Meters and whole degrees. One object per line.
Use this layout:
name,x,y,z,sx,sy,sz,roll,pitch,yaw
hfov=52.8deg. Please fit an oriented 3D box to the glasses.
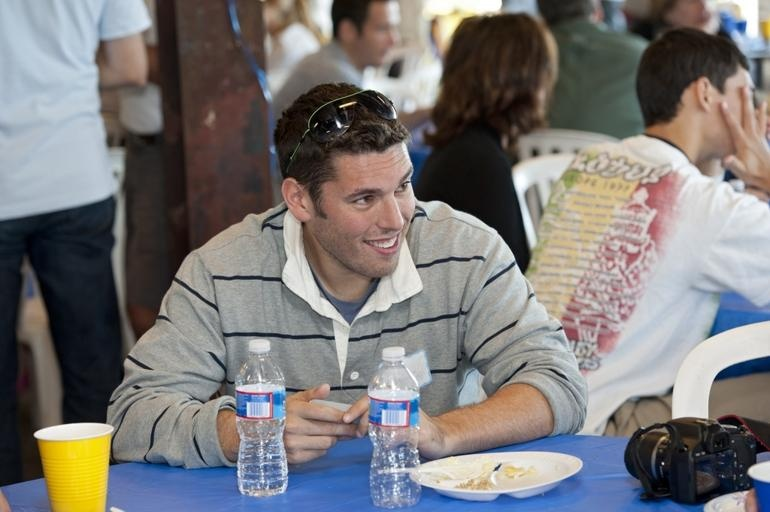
glasses,-0.149,-0.391,2.427,0.367,0.243,0.158,-5,8,0

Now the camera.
camera,0.718,0.430,1.900,0.264,0.163,0.194,-6,3,-32

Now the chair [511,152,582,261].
chair,0.743,-0.250,3.904,0.442,0.599,0.422,2,0,3

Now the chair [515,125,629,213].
chair,0.956,-0.435,4.063,0.470,0.634,0.466,2,-10,-1

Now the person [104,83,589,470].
person,-0.148,0.136,2.388,1.348,1.176,1.008,-2,16,-4
